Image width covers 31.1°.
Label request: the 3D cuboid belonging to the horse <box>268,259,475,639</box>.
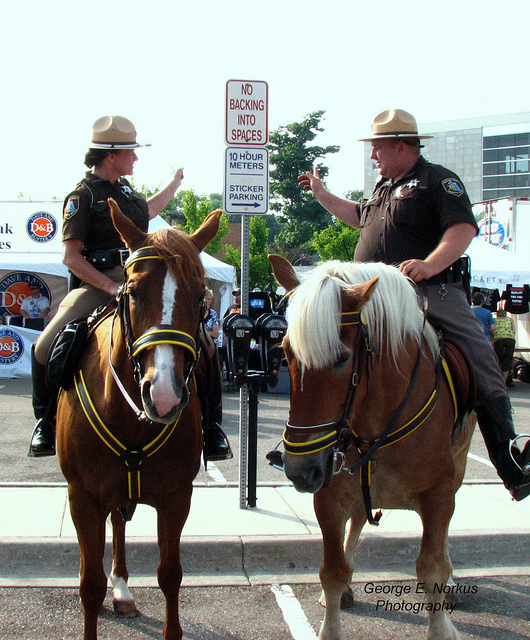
[{"bbox_3d":[0.674,0.832,5.303,1.354,2.306,0.562,-5,7,-24],"label":"horse"}]

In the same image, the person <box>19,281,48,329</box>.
[{"bbox_3d":[-4.085,-0.217,16.846,0.557,0.834,0.534,2,12,14],"label":"person"}]

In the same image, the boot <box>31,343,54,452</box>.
[{"bbox_3d":[-1.426,0.512,6.061,0.141,0.688,0.194,-3,7,-11],"label":"boot"}]

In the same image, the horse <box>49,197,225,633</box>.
[{"bbox_3d":[-0.731,0.624,5.427,0.901,2.584,1.540,-3,7,-12],"label":"horse"}]

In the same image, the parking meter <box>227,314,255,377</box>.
[{"bbox_3d":[-0.176,0.198,7.224,0.203,0.501,0.308,-2,7,-1],"label":"parking meter"}]

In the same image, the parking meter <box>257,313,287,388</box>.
[{"bbox_3d":[0.051,0.237,6.975,0.199,0.584,0.580,-2,6,-3],"label":"parking meter"}]

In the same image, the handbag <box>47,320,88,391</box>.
[{"bbox_3d":[-1.187,0.198,5.693,0.157,0.337,0.272,16,-17,-12],"label":"handbag"}]
